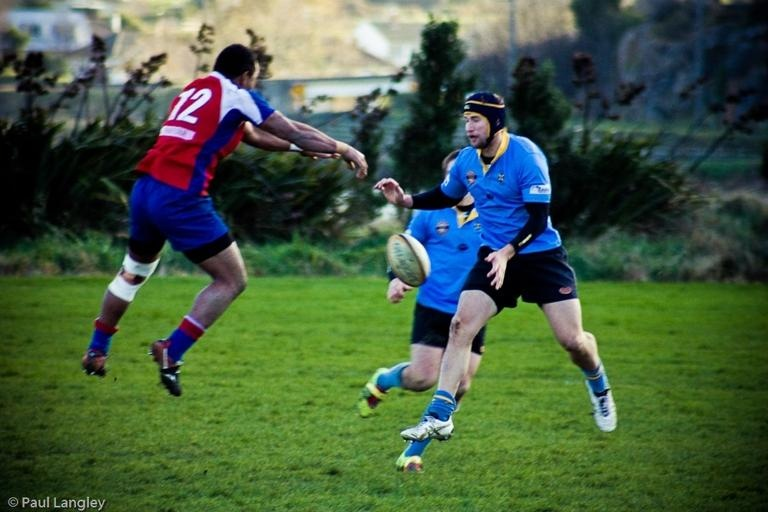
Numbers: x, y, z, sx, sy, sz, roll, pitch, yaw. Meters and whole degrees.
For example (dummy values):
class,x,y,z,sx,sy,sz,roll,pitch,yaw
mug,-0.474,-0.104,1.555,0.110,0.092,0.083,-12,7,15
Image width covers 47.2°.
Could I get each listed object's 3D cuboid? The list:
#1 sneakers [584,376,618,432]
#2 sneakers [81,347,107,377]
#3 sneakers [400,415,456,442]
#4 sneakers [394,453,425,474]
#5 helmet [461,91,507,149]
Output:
class,x,y,z,sx,sy,sz,roll,pitch,yaw
sneakers,2.030,1.401,8.259,0.228,0.535,0.248,-15,5,9
sneakers,-2.693,1.009,8.252,0.226,0.250,0.272,-1,-3,-2
sneakers,0.385,1.481,7.596,0.531,0.216,0.176,1,0,-9
sneakers,0.223,1.818,7.656,0.202,0.108,0.284,-1,0,-4
helmet,0.847,-1.285,8.136,0.503,0.533,0.423,-7,3,-31
